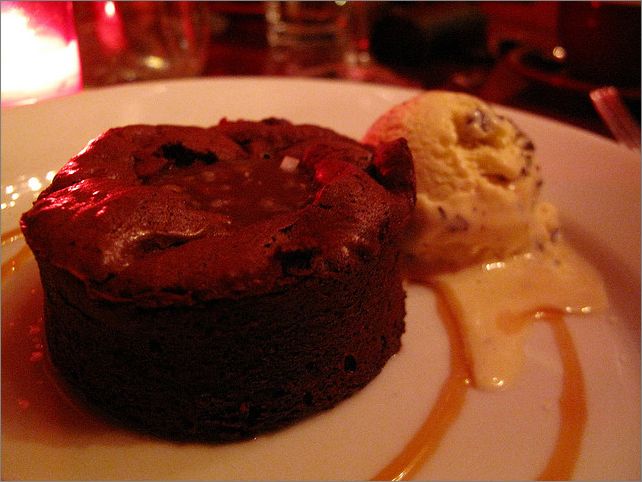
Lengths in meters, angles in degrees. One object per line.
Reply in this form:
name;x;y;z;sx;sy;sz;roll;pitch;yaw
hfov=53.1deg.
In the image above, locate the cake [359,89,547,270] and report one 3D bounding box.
cake;0.448;-0.233;2.505;0.674;0.508;0.649;5;32;38
